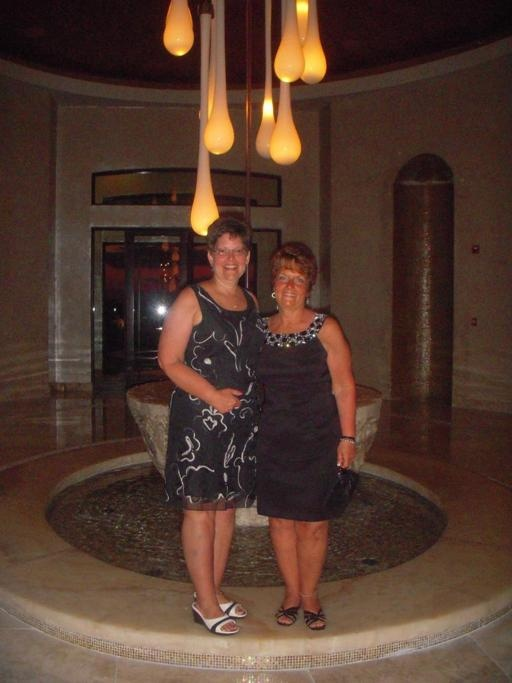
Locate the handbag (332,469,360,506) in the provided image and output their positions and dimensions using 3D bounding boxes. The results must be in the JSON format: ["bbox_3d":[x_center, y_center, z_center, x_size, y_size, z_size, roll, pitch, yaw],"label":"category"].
[{"bbox_3d":[0.289,0.478,2.207,0.105,0.121,0.056,-5,5,-19],"label":"handbag"}]

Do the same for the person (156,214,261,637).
[{"bbox_3d":[-0.097,0.248,2.171,0.392,1.288,0.229,-8,7,-41],"label":"person"}]

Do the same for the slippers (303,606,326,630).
[{"bbox_3d":[0.187,0.881,2.136,0.068,0.030,0.094,-3,4,0],"label":"slippers"}]

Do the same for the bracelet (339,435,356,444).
[{"bbox_3d":[0.304,0.322,2.227,0.041,0.023,0.039,1,-10,17],"label":"bracelet"}]

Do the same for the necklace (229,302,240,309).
[{"bbox_3d":[-0.070,-0.114,2.167,0.024,0.020,0.005,-2,-12,-23],"label":"necklace"}]

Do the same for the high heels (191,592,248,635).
[{"bbox_3d":[-0.092,0.856,2.121,0.175,0.088,0.126,-6,5,-32],"label":"high heels"}]

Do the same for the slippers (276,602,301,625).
[{"bbox_3d":[0.098,0.884,2.170,0.070,0.031,0.099,-3,4,4],"label":"slippers"}]
